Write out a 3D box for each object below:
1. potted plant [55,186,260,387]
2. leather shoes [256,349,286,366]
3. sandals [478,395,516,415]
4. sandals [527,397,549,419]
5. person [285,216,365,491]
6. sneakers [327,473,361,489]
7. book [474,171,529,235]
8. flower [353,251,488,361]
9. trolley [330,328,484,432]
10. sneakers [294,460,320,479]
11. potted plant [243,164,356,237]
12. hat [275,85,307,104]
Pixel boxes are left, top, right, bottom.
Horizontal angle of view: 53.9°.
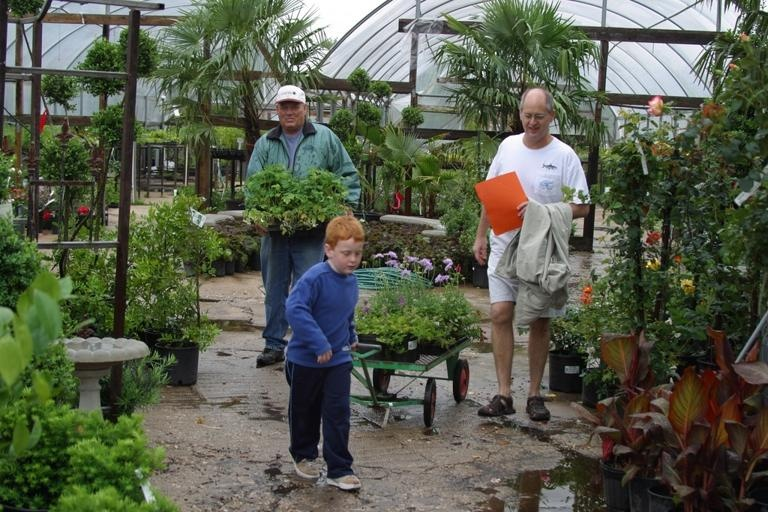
[{"bbox_3d":[-1.842,0.185,6.188,1.788,2.042,1.410,3,7,3],"label":"potted plant"},{"bbox_3d":[-1.020,0.925,6.748,0.103,0.136,0.308,-1,-10,26],"label":"leather shoes"},{"bbox_3d":[0.870,1.149,5.778,0.314,0.144,0.119,1,-1,-26],"label":"sandals"},{"bbox_3d":[1.166,1.151,5.680,0.175,0.155,0.152,4,9,10],"label":"sandals"},{"bbox_3d":[-0.374,0.716,4.641,0.459,1.357,0.438,1,9,-8],"label":"person"},{"bbox_3d":[-0.243,1.364,4.601,0.190,0.081,0.089,-5,-6,30],"label":"sneakers"},{"bbox_3d":[0.890,-0.392,5.728,0.390,0.481,0.200,4,9,9],"label":"book"},{"bbox_3d":[0.325,0.455,6.610,0.889,0.443,1.081,1,7,3],"label":"flower"},{"bbox_3d":[0.202,0.946,5.798,0.531,0.465,0.970,0,0,24],"label":"trolley"},{"bbox_3d":[-0.475,1.333,4.712,0.079,0.083,0.182,0,-3,-45],"label":"sneakers"},{"bbox_3d":[-0.731,-0.467,6.361,0.668,0.397,0.680,15,20,41],"label":"potted plant"},{"bbox_3d":[-0.794,-1.359,6.375,0.227,0.147,0.211,0,10,-14],"label":"hat"}]
